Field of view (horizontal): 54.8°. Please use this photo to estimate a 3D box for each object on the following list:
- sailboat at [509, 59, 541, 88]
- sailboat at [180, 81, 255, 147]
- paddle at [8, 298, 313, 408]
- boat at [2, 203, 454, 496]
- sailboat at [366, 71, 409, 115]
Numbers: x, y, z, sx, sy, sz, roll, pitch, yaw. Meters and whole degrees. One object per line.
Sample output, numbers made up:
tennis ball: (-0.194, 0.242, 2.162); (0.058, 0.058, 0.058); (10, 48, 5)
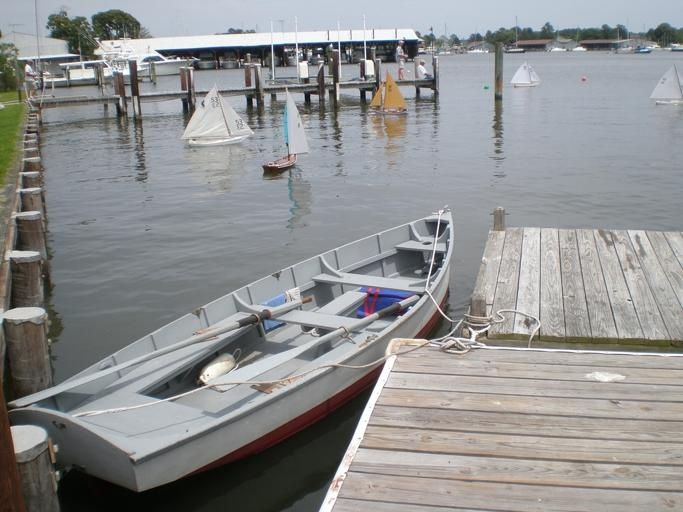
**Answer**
sailboat: (15.364, -15.102, 54.831); (1.965, 2.058, 3.506); (2, 17, 14)
sailboat: (-5.461, -6.031, 28.448); (3.016, 2.745, 0.933); (-5, -2, -12)
paddle: (-2.501, 1.434, 9.366); (3.636, 0.186, 0.388); (-18, -24, -26)
boat: (-0.656, 1.224, 10.051); (2.628, 1.667, 7.242); (17, 29, 31)
sailboat: (2.681, -9.337, 37.688); (1.738, 2.297, 4.643); (-3, 16, -2)
